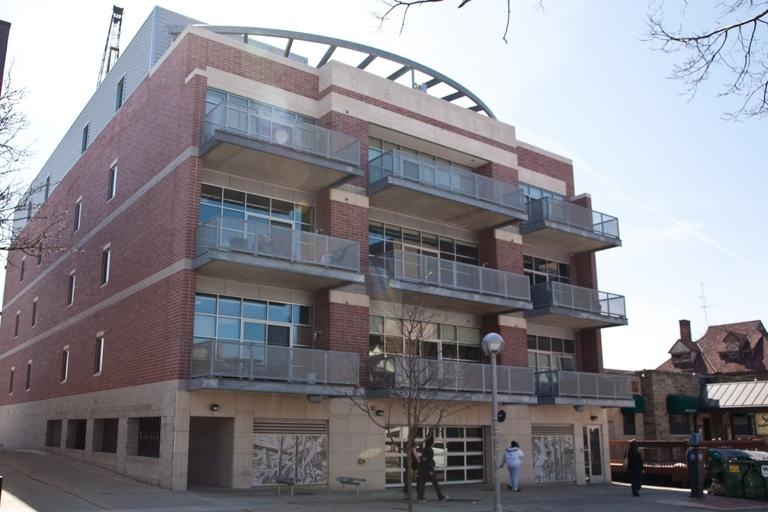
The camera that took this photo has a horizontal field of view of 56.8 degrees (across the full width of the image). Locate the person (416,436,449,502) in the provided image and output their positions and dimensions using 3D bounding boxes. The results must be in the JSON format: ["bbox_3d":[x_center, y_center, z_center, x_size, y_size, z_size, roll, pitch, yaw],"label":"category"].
[{"bbox_3d":[1.740,8.397,28.260,1.027,2.481,1.399,-9,-23,19],"label":"person"}]
